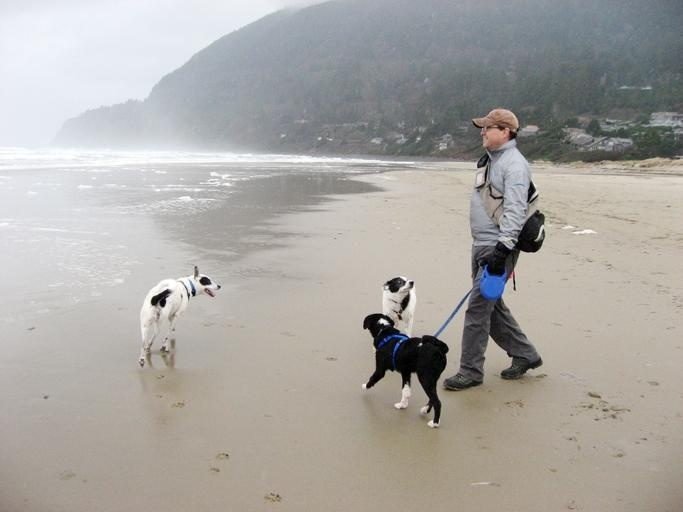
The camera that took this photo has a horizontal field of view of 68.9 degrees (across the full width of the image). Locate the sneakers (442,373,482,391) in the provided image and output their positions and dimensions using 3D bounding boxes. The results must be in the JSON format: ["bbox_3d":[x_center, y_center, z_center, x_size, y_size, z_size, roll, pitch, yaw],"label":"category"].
[{"bbox_3d":[1.193,1.247,5.019,0.382,0.172,0.155,2,4,-7],"label":"sneakers"}]

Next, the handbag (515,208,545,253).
[{"bbox_3d":[1.793,-0.236,4.757,0.244,0.386,0.290,2,18,19],"label":"handbag"}]

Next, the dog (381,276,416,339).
[{"bbox_3d":[0.706,0.625,6.066,0.391,0.667,0.904,2,-8,12],"label":"dog"}]

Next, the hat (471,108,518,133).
[{"bbox_3d":[1.473,-1.285,4.765,0.413,0.192,0.263,7,10,5],"label":"hat"}]

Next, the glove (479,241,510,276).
[{"bbox_3d":[1.413,0.038,4.642,0.235,0.297,0.117,13,12,-12],"label":"glove"}]

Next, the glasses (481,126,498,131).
[{"bbox_3d":[1.403,-1.210,4.728,0.112,0.031,0.084,-2,9,-17],"label":"glasses"}]
